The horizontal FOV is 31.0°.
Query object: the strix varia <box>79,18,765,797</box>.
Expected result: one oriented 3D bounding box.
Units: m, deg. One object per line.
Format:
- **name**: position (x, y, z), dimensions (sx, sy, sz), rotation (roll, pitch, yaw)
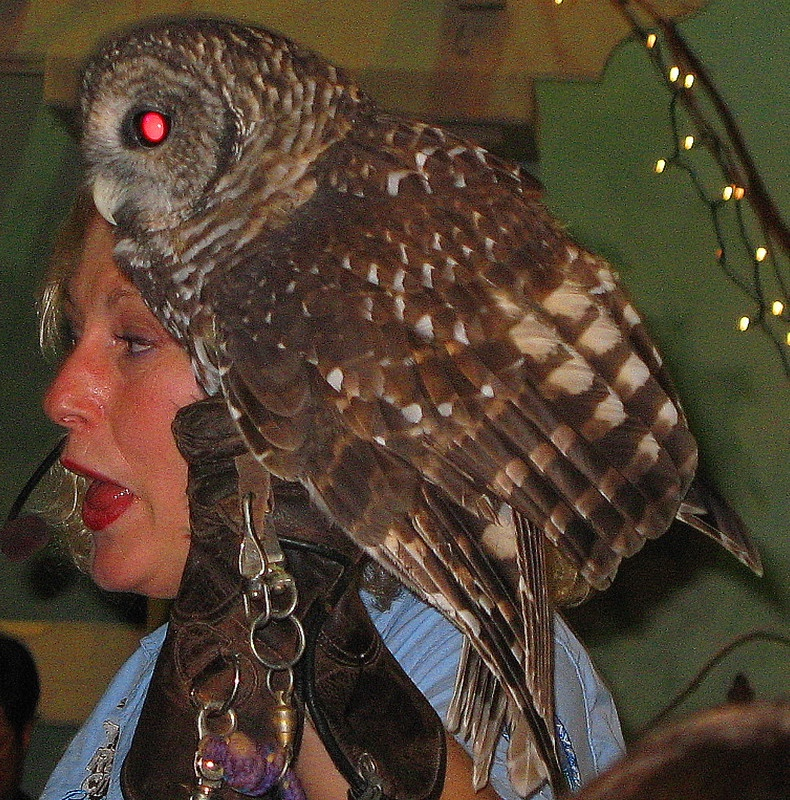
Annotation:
- **strix varia**: position (0.057, -0.068, 2.343), dimensions (1.419, 0.798, 1.080), rotation (0, 86, -4)
